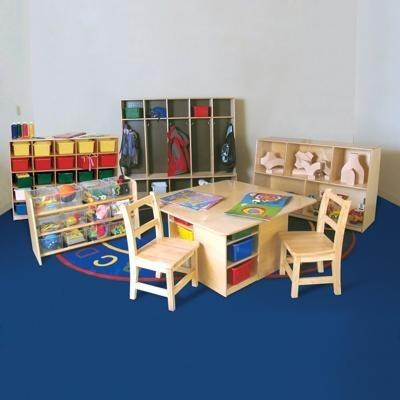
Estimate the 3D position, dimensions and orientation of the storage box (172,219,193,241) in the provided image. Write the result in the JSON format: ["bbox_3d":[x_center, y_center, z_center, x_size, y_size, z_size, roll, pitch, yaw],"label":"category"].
[{"bbox_3d":[-0.139,0.284,3.003,0.135,0.145,0.193,-18,23,-42],"label":"storage box"}]

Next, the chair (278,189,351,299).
[{"bbox_3d":[0.910,0.339,2.741,0.466,0.779,0.501,1,15,12],"label":"chair"}]

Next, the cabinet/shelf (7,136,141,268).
[{"bbox_3d":[-1.353,-0.126,4.269,1.309,1.321,1.800,9,14,41],"label":"cabinet/shelf"}]

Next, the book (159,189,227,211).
[{"bbox_3d":[-0.062,-0.004,3.068,0.277,0.072,0.270,14,24,37],"label":"book"}]

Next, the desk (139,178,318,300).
[{"bbox_3d":[0.269,0.277,2.843,0.964,0.589,0.975,-20,28,-39],"label":"desk"}]

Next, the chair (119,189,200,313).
[{"bbox_3d":[-0.301,0.391,2.633,0.451,0.788,0.483,1,15,18],"label":"chair"}]
